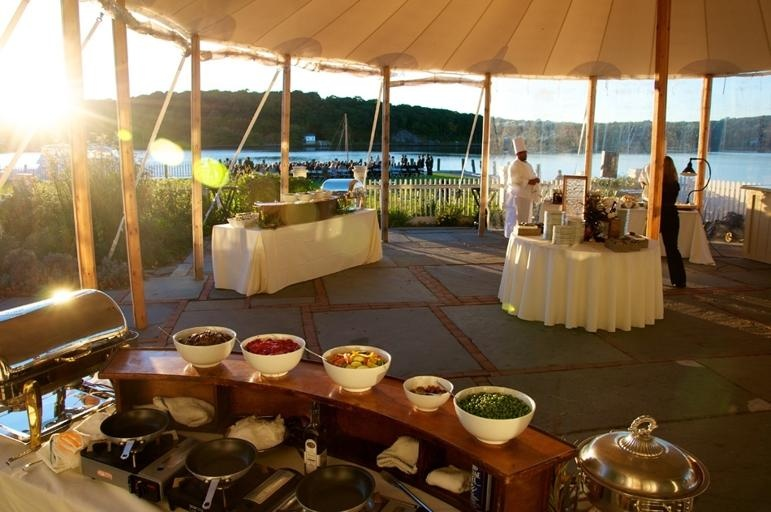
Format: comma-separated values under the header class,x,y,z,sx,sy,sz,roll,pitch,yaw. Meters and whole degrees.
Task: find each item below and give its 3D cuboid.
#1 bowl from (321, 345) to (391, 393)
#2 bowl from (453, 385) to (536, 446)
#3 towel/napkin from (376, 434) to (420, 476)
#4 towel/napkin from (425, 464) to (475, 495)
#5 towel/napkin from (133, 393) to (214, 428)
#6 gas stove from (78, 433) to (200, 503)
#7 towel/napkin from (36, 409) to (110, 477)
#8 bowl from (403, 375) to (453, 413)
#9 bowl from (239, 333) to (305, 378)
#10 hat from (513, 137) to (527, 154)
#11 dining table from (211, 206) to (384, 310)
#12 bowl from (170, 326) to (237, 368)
class,x,y,z,sx,sy,sz,roll,pitch,yaw
bowl,-0.179,0.669,2.909,0.391,0.197,0.314,1,15,1
bowl,0.574,0.849,2.608,0.406,0.184,0.338,3,15,10
towel/napkin,0.089,1.125,2.770,0.189,0.070,0.192,8,23,39
towel/napkin,0.355,1.234,2.725,0.246,0.065,0.173,6,16,18
towel/napkin,-1.261,0.961,3.038,0.260,0.090,0.204,3,41,-37
gas stove,-1.332,1.130,2.635,0.375,0.158,0.369,8,17,20
towel/napkin,-1.775,1.043,2.785,0.230,0.094,0.302,13,29,26
bowl,0.230,0.770,2.757,0.260,0.140,0.212,7,16,22
bowl,-0.695,0.617,3.012,0.363,0.179,0.318,-5,16,-18
hat,2.945,-2.421,10.756,0.259,0.362,0.337,4,15,13
dining table,-1.339,-0.116,7.984,0.761,1.080,2.782,13,20,41
bowl,-1.145,0.581,3.096,0.374,0.208,0.286,-1,15,-5
